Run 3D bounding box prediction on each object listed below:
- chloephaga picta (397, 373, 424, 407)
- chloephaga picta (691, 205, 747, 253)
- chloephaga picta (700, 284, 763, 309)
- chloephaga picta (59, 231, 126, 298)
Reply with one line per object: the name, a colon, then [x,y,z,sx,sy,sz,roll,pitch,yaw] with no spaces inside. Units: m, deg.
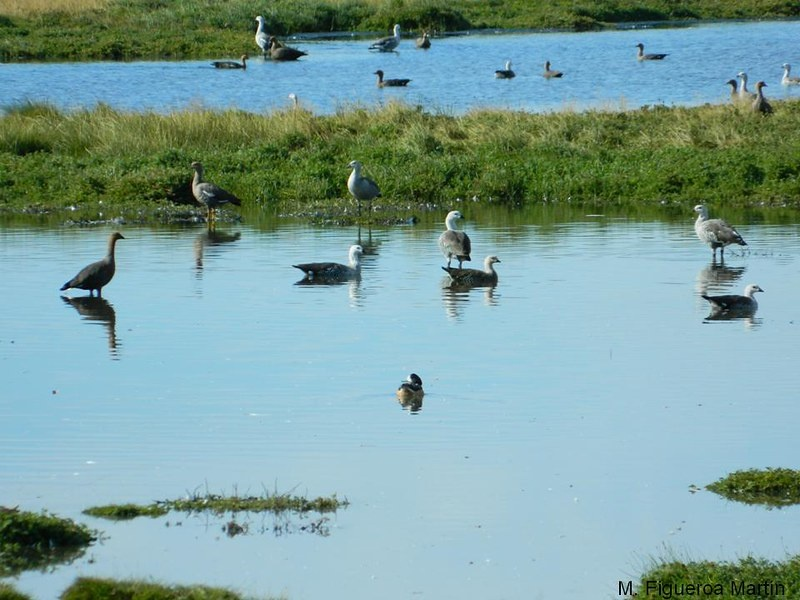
chloephaga picta: [0.276,2.038,36.982,0.486,0.572,0.825,4,13,5]
chloephaga picta: [9.246,-2.127,46.019,1.589,1.373,1.585,6,18,16]
chloephaga picta: [8.608,-0.131,41.530,1.587,0.882,0.629,0,3,-8]
chloephaga picta: [-8.541,-0.904,43.037,1.528,1.904,1.693,12,19,4]
